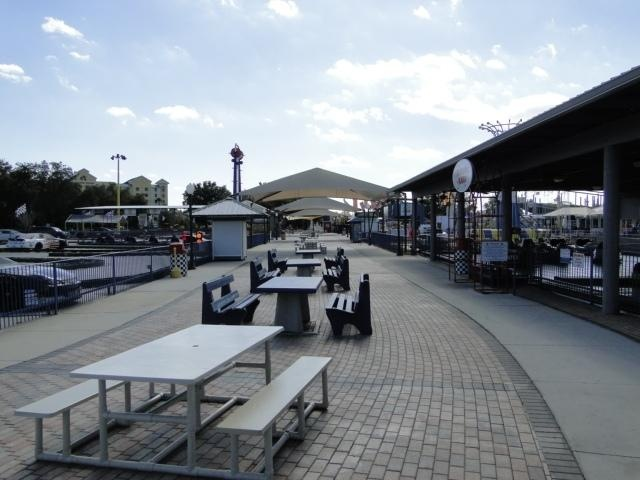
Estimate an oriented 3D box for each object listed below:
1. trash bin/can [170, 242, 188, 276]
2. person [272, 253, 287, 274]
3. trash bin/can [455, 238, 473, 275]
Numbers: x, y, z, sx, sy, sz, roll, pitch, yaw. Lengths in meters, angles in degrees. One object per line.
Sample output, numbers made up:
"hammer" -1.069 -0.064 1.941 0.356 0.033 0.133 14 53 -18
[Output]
"trash bin/can" -5.481 0.759 18.149 0.627 1.326 0.559 0 1 -8
"person" -1.573 0.898 18.082 0.348 0.512 0.896 -1 4 0
"trash bin/can" 5.219 0.639 17.157 0.545 1.368 0.638 1 1 18
